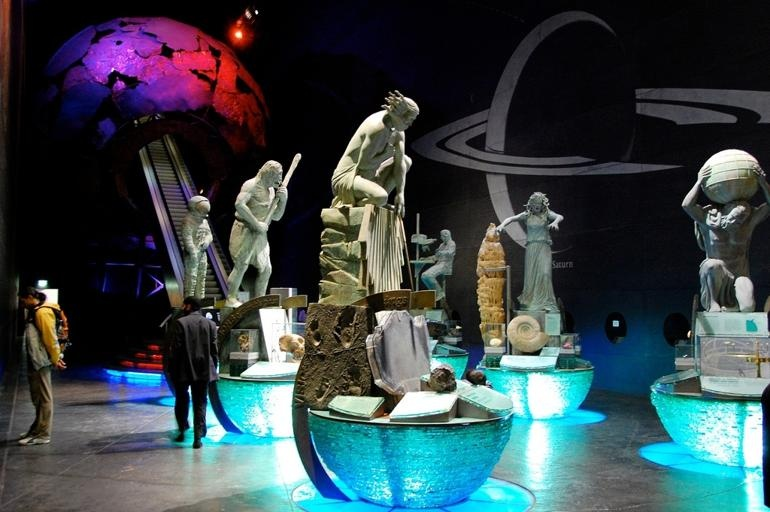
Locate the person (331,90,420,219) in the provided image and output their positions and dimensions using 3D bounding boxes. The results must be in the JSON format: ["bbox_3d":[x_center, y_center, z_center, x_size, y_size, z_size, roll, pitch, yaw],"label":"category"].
[{"bbox_3d":[-0.121,-1.315,6.537,1.023,1.578,0.659,1,-1,-6],"label":"person"}]

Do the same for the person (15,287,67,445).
[{"bbox_3d":[-4.719,1.450,7.242,0.530,2.042,1.293,1,-1,-32],"label":"person"}]

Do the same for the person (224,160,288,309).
[{"bbox_3d":[-2.356,-0.471,9.489,1.065,2.670,0.917,1,-1,-39],"label":"person"}]

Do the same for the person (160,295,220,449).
[{"bbox_3d":[-2.557,1.524,6.961,0.553,1.948,0.521,0,-1,32],"label":"person"}]

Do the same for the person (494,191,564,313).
[{"bbox_3d":[2.917,-0.103,10.024,0.872,2.227,0.711,0,-1,13],"label":"person"}]

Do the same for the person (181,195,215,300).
[{"bbox_3d":[-3.775,-0.159,10.516,0.536,2.092,0.948,1,-1,-20],"label":"person"}]

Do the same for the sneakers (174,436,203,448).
[{"bbox_3d":[-2.592,2.473,6.906,0.501,0.208,0.157,-17,-17,39],"label":"sneakers"}]

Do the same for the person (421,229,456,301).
[{"bbox_3d":[1.234,0.191,12.182,0.752,1.735,1.171,0,-1,5],"label":"person"}]
